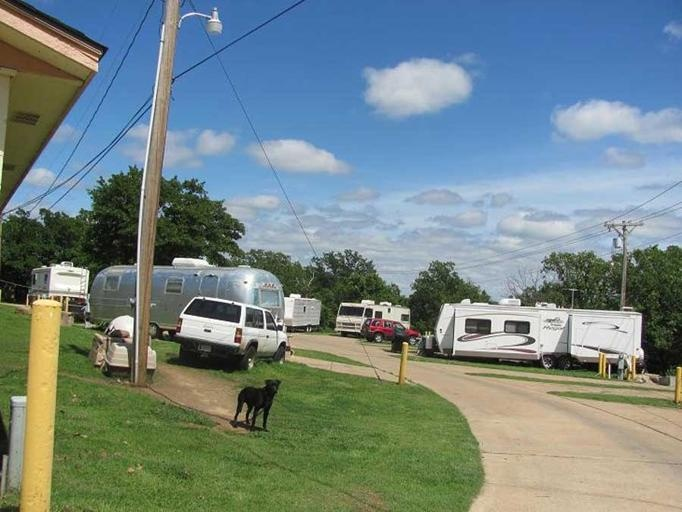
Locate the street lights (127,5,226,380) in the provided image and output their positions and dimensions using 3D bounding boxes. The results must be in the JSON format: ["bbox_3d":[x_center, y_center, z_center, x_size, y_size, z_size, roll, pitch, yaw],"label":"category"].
[{"bbox_3d":[-4.121,-1.452,13.117,0.575,8.499,0.616,7,-3,-28],"label":"street lights"}]

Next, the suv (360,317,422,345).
[{"bbox_3d":[3.733,5.408,41.893,3.862,1.723,1.777,-1,0,-23],"label":"suv"}]

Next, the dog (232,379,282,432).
[{"bbox_3d":[-1.686,2.840,11.732,0.803,0.895,1.084,7,-2,-9],"label":"dog"}]

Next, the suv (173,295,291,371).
[{"bbox_3d":[-3.055,2.179,17.481,1.656,1.346,3.138,2,-1,21],"label":"suv"}]
